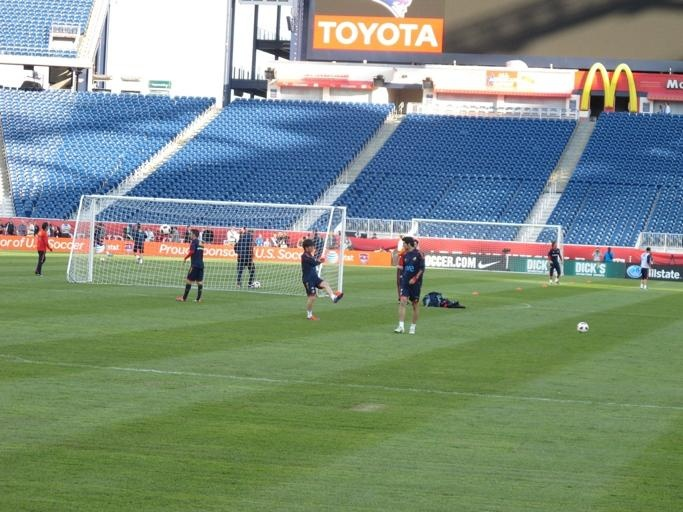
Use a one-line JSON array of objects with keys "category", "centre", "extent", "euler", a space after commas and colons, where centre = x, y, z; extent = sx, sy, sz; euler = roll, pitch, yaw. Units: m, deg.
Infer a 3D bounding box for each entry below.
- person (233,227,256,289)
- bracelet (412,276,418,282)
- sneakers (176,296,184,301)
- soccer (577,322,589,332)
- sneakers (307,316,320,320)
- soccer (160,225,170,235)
[{"category": "person", "centre": [-2.946, 0.097, 37.566], "extent": [0.608, 1.833, 1.172], "euler": [1, 10, -5]}, {"category": "bracelet", "centre": [1.632, 0.549, 27.726], "extent": [0.047, 0.133, 0.100], "euler": [55, 16, 25]}, {"category": "sneakers", "centre": [-4.324, 1.160, 32.868], "extent": [0.100, 0.078, 0.188], "euler": [4, 1, -43]}, {"category": "soccer", "centre": [5.644, 1.702, 28.868], "extent": [0.228, 0.232, 0.384], "euler": [3, 9, 7]}, {"category": "sneakers", "centre": [-0.695, 1.519, 29.820], "extent": [0.263, 0.102, 0.091], "euler": [-2, 7, -39]}, {"category": "soccer", "centre": [-7.473, -1.084, 52.084], "extent": [0.438, 0.377, 0.406], "euler": [7, -5, 1]}]
